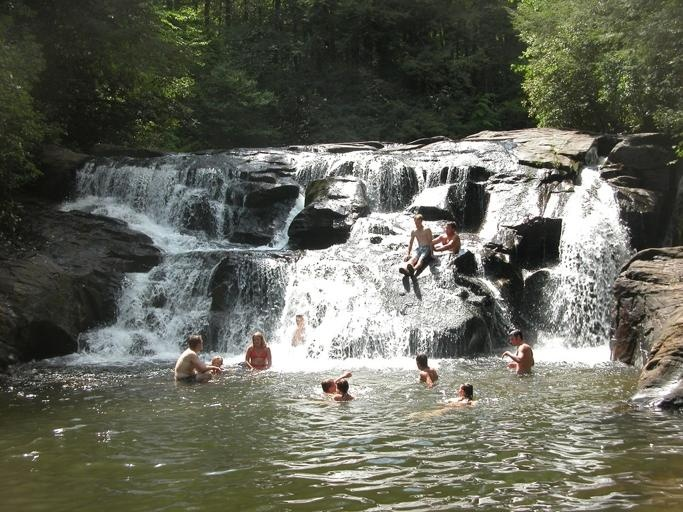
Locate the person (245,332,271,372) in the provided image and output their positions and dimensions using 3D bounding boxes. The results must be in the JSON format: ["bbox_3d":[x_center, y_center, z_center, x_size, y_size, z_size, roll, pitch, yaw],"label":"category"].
[{"bbox_3d":[-2.039,2.414,18.078,0.681,0.979,0.595,3,2,18],"label":"person"}]

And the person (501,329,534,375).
[{"bbox_3d":[4.370,2.479,17.951,0.915,1.721,1.244,-2,-9,13],"label":"person"}]

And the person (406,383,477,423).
[{"bbox_3d":[2.187,2.998,14.899,1.812,0.354,0.528,-13,19,-38],"label":"person"}]

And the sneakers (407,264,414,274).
[{"bbox_3d":[1.934,0.381,20.669,0.116,0.329,0.124,-6,13,3],"label":"sneakers"}]

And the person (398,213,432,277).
[{"bbox_3d":[2.147,-0.362,21.038,0.907,1.704,1.202,1,15,12],"label":"person"}]

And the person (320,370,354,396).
[{"bbox_3d":[-0.144,2.774,15.782,0.708,0.304,0.373,-26,3,30],"label":"person"}]

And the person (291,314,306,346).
[{"bbox_3d":[-1.246,2.048,20.169,0.438,0.724,0.166,-7,-27,16],"label":"person"}]
